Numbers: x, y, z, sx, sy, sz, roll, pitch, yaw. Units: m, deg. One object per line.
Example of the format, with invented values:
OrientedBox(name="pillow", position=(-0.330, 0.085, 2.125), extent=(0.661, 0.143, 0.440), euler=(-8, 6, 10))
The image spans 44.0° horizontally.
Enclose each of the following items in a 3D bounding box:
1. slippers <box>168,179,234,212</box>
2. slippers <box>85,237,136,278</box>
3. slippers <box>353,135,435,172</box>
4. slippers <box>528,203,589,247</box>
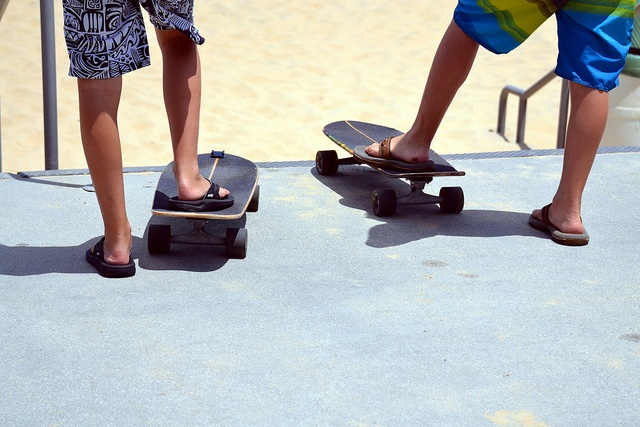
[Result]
OrientedBox(name="slippers", position=(-0.581, -0.081, 3.936), extent=(0.327, 0.086, 0.128), euler=(-5, 20, -22))
OrientedBox(name="slippers", position=(-1.026, 0.196, 3.915), extent=(0.225, 0.108, 0.339), euler=(-11, 28, -24))
OrientedBox(name="slippers", position=(0.402, -0.361, 4.623), extent=(0.212, 0.110, 0.493), euler=(-10, 21, -39))
OrientedBox(name="slippers", position=(1.310, 0.038, 4.389), extent=(0.236, 0.105, 0.438), euler=(-6, 22, -7))
